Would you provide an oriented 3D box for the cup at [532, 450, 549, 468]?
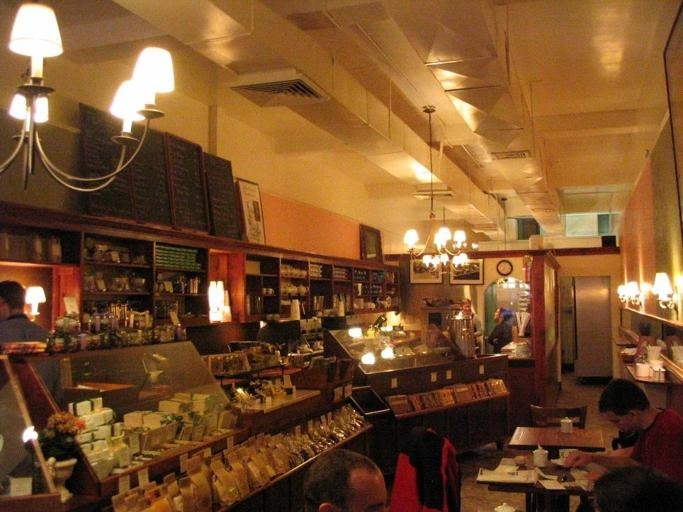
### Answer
[{"bbox_3d":[1.640,1.656,4.431,0.116,0.125,0.119,0,-4,0],"label":"cup"}]

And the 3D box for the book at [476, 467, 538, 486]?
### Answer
[{"bbox_3d":[1.292,1.707,4.180,0.441,0.043,0.304,-6,-3,19],"label":"book"}]

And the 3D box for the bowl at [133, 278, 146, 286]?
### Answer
[{"bbox_3d":[-2.378,0.313,6.328,0.068,0.116,0.187,-6,-2,12],"label":"bowl"}]

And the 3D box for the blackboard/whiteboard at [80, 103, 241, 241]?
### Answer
[{"bbox_3d":[-2.166,-0.947,6.282,0.122,0.882,1.909,-11,-15,26],"label":"blackboard/whiteboard"}]

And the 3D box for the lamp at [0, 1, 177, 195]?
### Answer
[{"bbox_3d":[-1.815,-0.873,3.818,0.915,1.053,2.335,-4,-3,-25],"label":"lamp"}]

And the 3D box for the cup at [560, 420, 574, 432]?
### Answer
[{"bbox_3d":[2.171,1.637,5.201,0.104,0.117,0.145,0,-1,44],"label":"cup"}]
